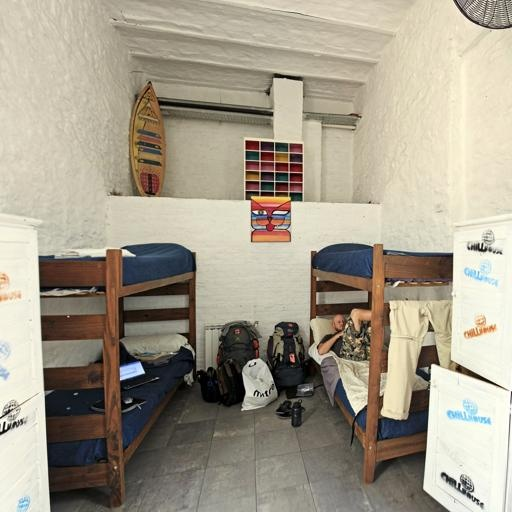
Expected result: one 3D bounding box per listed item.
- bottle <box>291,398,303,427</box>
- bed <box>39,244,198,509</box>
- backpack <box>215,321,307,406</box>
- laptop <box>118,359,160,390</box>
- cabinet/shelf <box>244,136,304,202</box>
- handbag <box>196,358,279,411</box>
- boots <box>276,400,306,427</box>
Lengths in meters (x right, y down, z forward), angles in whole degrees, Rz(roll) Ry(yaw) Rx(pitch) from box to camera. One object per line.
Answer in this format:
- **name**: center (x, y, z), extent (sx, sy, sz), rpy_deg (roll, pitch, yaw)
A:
- **bottle**: center (0.307, 1.202, 3.246), extent (0.079, 0.150, 0.119), rpy_deg (-1, 5, 4)
- **bed**: center (-0.966, 0.683, 3.237), extent (0.765, 1.244, 1.608), rpy_deg (-1, 2, -7)
- **backpack**: center (0.031, 0.885, 3.839), extent (0.502, 0.768, 0.262), rpy_deg (3, -29, -14)
- **laptop**: center (-0.905, 0.908, 3.255), extent (0.307, 0.091, 0.293), rpy_deg (-2, 2, -37)
- **cabinet/shelf**: center (0.195, -1.029, 4.934), extent (0.761, 0.832, 0.249), rpy_deg (0, 2, -1)
- **handbag**: center (-0.091, 1.041, 3.628), extent (0.357, 0.239, 0.506), rpy_deg (1, -6, 41)
- **boots**: center (0.274, 1.198, 3.276), extent (0.186, 0.077, 0.146), rpy_deg (0, 6, -1)
